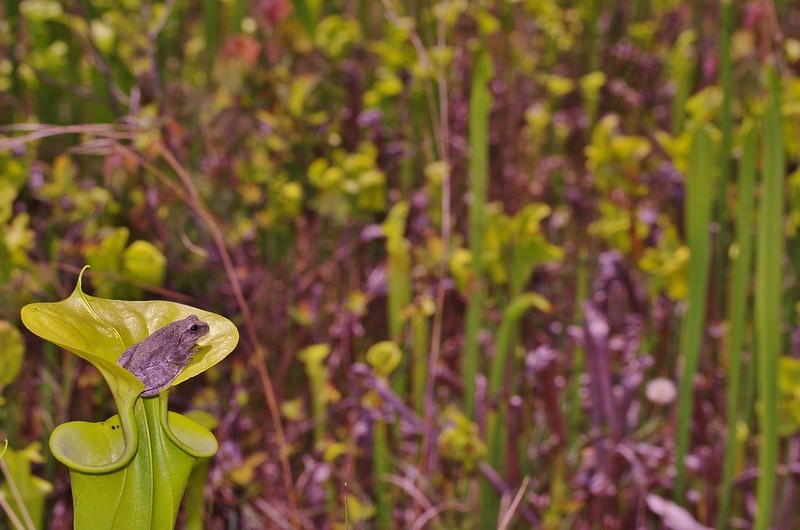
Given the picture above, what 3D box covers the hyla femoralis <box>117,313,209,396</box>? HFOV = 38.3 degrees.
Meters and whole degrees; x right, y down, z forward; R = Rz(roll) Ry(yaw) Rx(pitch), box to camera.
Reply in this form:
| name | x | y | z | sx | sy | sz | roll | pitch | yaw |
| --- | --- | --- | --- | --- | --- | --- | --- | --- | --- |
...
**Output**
| name | x | y | z | sx | sy | sz | roll | pitch | yaw |
| --- | --- | --- | --- | --- | --- | --- | --- | --- | --- |
| hyla femoralis | -0.386 | 0.149 | 1.888 | 0.135 | 0.054 | 0.100 | -30 | 62 | -19 |
